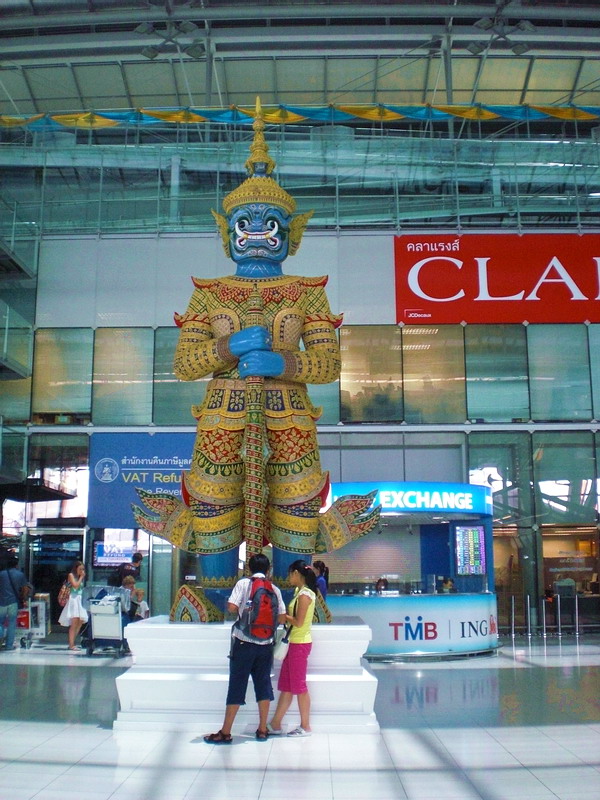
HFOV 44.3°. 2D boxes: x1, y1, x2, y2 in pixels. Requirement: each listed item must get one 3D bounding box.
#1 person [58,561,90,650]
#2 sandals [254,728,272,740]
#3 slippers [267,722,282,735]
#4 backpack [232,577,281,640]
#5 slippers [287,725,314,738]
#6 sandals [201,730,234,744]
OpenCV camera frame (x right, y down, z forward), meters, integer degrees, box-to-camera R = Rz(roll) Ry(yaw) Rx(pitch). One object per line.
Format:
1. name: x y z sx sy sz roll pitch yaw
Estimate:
1. person: -2.910 2.654 9.459 0.353 1.150 1.147 3 -11 -16
2. sandals: -0.218 1.988 4.404 0.048 0.044 0.133 1 -2 5
3. slippers: -0.165 2.010 4.520 0.073 0.058 0.089 -1 -6 0
4. backpack: -0.252 1.200 4.177 0.220 0.366 0.159 3 -12 -15
5. slippers: -0.002 2.017 4.474 0.155 0.049 0.059 4 -13 -6
6. sandals: -0.482 1.949 4.280 0.146 0.048 0.072 5 -20 6
